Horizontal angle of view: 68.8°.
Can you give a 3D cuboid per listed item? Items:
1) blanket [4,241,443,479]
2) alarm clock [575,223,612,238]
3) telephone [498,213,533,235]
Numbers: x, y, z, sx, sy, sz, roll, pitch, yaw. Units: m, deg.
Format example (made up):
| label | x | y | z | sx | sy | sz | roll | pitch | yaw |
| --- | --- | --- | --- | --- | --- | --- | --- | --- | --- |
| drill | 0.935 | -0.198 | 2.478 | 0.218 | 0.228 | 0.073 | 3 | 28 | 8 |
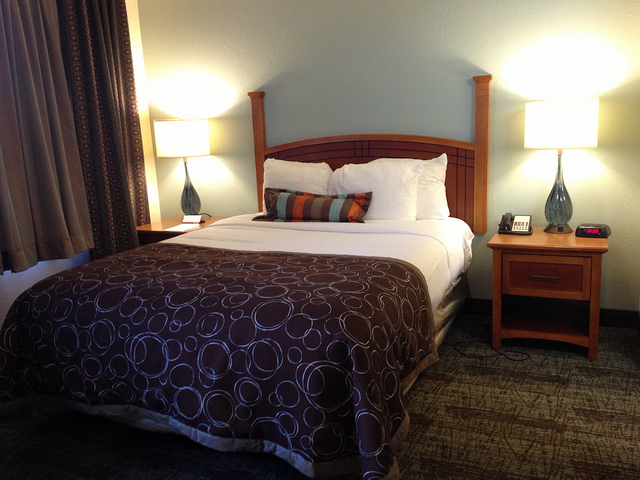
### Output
| label | x | y | z | sx | sy | sz | roll | pitch | yaw |
| --- | --- | --- | --- | --- | --- | --- | --- | --- | --- |
| blanket | -0.523 | 0.473 | 2.361 | 1.644 | 0.489 | 1.192 | 5 | 15 | 19 |
| alarm clock | 1.872 | -0.072 | 3.213 | 0.207 | 0.072 | 0.135 | 7 | 17 | 27 |
| telephone | 1.438 | -0.135 | 3.434 | 0.222 | 0.128 | 0.230 | 5 | 16 | 22 |
